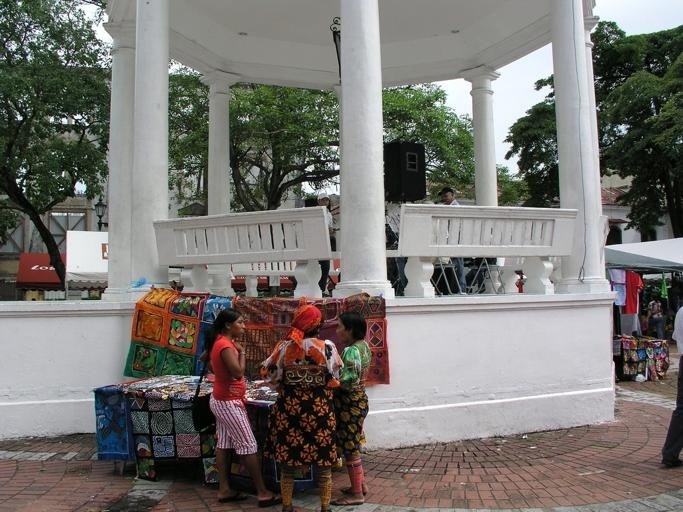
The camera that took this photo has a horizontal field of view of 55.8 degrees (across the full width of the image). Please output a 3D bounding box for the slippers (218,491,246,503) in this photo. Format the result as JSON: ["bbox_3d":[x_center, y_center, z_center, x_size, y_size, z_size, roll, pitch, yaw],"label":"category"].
[{"bbox_3d":[-1.243,2.741,7.380,0.284,0.076,0.112,0,2,-22],"label":"slippers"}]

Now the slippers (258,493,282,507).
[{"bbox_3d":[-0.812,2.773,7.326,0.254,0.100,0.100,0,-1,-21],"label":"slippers"}]

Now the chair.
[{"bbox_3d":[1.680,-0.024,10.522,1.586,1.046,0.561,1,-2,-19],"label":"chair"}]

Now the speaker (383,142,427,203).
[{"bbox_3d":[1.337,-1.691,13.142,0.643,0.988,0.605,3,-8,-16],"label":"speaker"}]

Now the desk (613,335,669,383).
[{"bbox_3d":[7.157,2.345,14.667,0.704,0.840,1.229,2,-8,-26],"label":"desk"}]

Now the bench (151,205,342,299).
[{"bbox_3d":[-1.620,0.019,10.144,2.603,1.250,1.025,-2,4,1],"label":"bench"}]

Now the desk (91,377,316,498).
[{"bbox_3d":[-2.019,2.171,8.029,2.714,1.155,0.582,2,7,14],"label":"desk"}]
